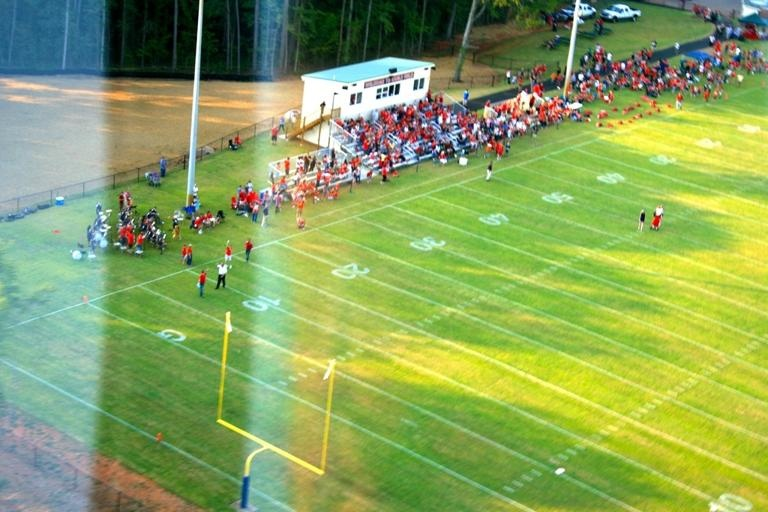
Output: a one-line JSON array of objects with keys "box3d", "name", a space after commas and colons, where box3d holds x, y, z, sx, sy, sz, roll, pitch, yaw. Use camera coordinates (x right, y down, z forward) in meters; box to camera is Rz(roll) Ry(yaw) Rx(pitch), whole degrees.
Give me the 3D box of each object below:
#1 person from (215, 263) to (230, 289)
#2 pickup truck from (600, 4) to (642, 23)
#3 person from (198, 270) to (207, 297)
[{"box3d": [-8.639, 0.831, 74.588, 0.663, 1.257, 1.859, 0, 20, -5], "name": "person"}, {"box3d": [21.926, -22.444, 129.933, 3.583, 1.070, 1.758, -13, 44, -28], "name": "pickup truck"}, {"box3d": [-9.580, 1.338, 73.433, 0.408, 1.329, 0.920, -1, 21, -8], "name": "person"}]
